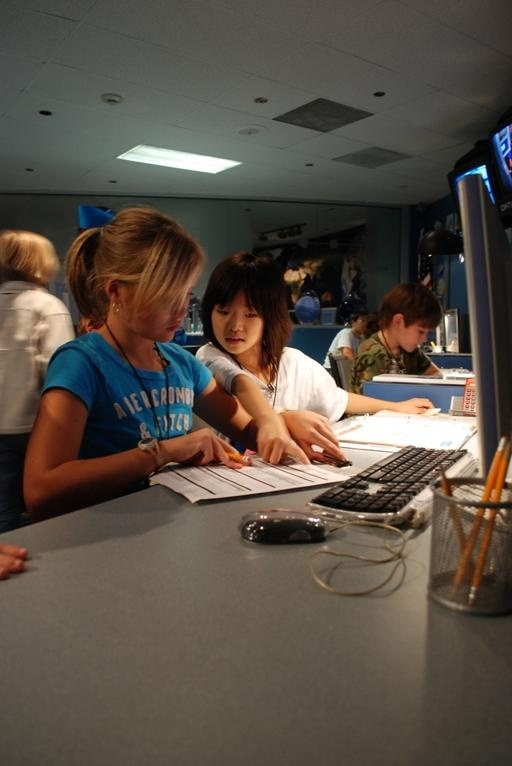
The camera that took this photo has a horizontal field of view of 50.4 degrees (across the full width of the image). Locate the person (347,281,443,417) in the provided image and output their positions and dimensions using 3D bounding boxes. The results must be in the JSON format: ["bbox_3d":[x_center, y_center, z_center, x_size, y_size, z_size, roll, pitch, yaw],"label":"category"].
[{"bbox_3d":[0.731,-0.139,2.899,0.488,0.803,0.499,6,19,20],"label":"person"}]

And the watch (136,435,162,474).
[{"bbox_3d":[-0.197,0.128,0.985,0.022,0.060,0.042,-3,-27,-24],"label":"watch"}]

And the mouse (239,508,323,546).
[{"bbox_3d":[0.035,0.166,0.646,0.064,0.019,0.045,-2,-1,-3],"label":"mouse"}]

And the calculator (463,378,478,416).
[{"bbox_3d":[0.594,0.042,1.514,0.047,0.113,0.016,0,-34,37],"label":"calculator"}]
